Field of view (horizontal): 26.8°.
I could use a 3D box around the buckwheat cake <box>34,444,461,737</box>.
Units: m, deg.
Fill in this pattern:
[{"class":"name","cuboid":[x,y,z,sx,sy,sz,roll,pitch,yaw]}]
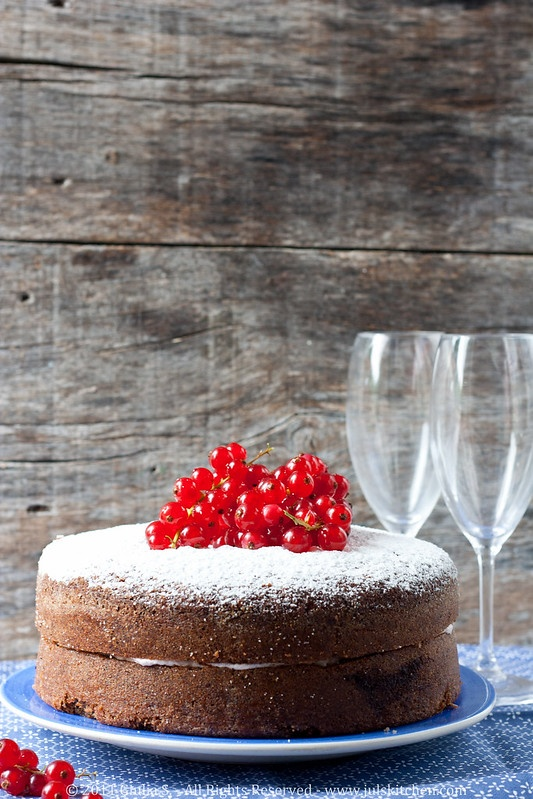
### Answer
[{"class":"buckwheat cake","cuboid":[-0.026,0.138,0.892,0.275,0.145,0.261,0,-8,16]}]
